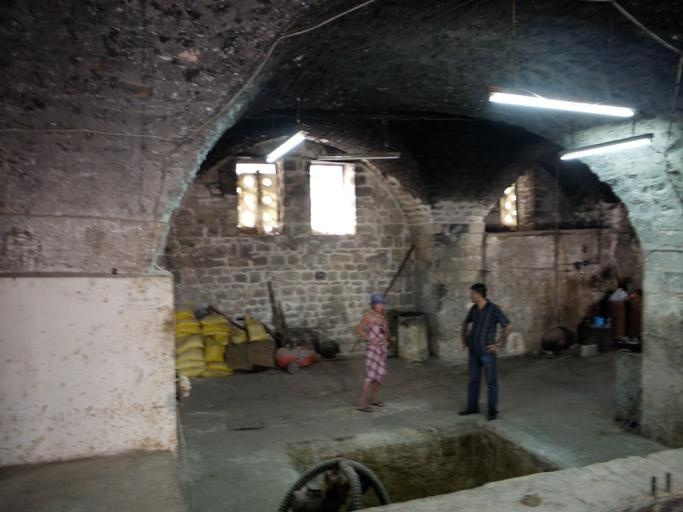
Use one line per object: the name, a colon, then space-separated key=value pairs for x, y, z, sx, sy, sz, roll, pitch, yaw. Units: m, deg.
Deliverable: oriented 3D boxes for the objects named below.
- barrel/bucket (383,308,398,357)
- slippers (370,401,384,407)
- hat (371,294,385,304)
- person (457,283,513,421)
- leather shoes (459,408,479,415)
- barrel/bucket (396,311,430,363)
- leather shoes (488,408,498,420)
barrel/bucket: x=0.861 y=1.376 z=10.988 sx=0.306 sy=0.793 sz=0.141 roll=1 pitch=-1 yaw=1
slippers: x=0.443 y=1.820 z=7.532 sx=0.172 sy=0.028 sz=0.060 roll=-1 pitch=0 yaw=25
hat: x=0.431 y=0.517 z=7.328 sx=0.172 sy=0.052 sz=0.129 roll=0 pitch=1 yaw=-2
person: x=1.610 y=1.072 z=6.989 sx=0.601 sy=1.526 sz=0.605 roll=-3 pitch=4 yaw=7
leather shoes: x=1.454 y=1.805 z=7.089 sx=0.277 sy=0.061 sz=0.070 roll=2 pitch=1 yaw=0
barrel/bucket: x=1.190 y=1.363 z=10.231 sx=0.484 sy=0.738 sz=0.332 roll=-2 pitch=4 yaw=6
leather shoes: x=1.672 y=1.771 z=6.888 sx=0.162 sy=0.108 sz=0.138 roll=0 pitch=7 yaw=7
